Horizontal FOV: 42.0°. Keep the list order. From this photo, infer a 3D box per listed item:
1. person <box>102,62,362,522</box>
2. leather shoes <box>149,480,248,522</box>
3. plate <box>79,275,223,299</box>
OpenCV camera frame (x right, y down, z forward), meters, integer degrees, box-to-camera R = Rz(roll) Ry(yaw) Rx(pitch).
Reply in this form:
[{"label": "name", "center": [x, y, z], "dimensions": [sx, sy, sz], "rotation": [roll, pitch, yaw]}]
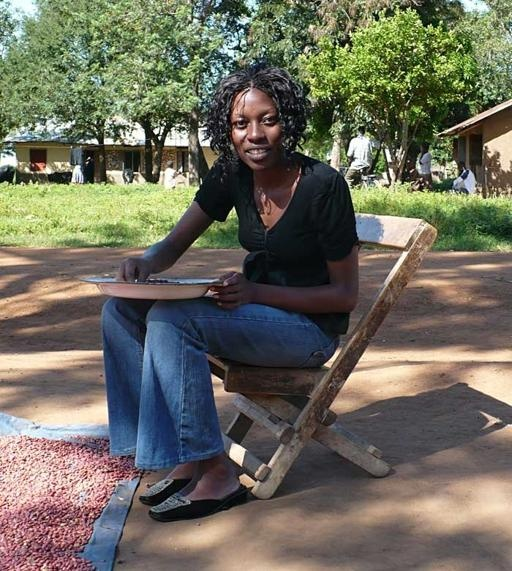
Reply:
[{"label": "person", "center": [-0.141, -0.012, 2.700], "dimensions": [0.932, 1.749, 0.700], "rotation": [-2, 8, -30]}, {"label": "leather shoes", "center": [-0.214, 0.798, 2.512], "dimensions": [0.331, 0.066, 0.117], "rotation": [-3, 1, -29]}, {"label": "plate", "center": [-0.387, 0.018, 2.454], "dimensions": [0.473, 0.099, 0.436], "rotation": [0, 5, -16]}]
